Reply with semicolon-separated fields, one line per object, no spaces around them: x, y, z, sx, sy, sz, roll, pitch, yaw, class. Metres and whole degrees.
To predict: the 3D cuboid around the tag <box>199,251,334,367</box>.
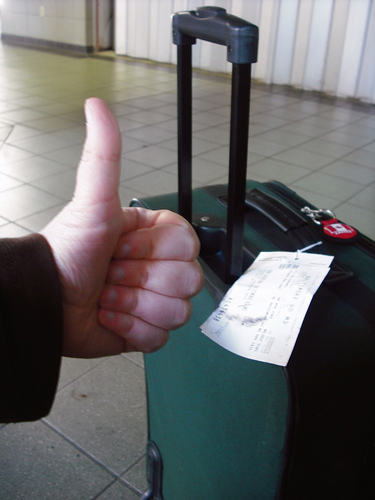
0.103;0.049;0.499;0.108;0.051;0.249;15;28;24;tag
